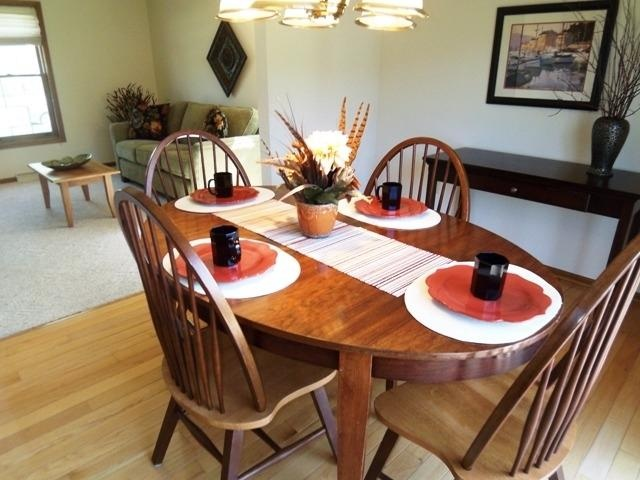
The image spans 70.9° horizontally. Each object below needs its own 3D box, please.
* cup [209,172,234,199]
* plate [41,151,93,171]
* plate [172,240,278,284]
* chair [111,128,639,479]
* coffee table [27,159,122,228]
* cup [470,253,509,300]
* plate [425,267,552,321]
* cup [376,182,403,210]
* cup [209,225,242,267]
[{"bbox_3d":[-0.486,-0.270,2.180,0.133,0.119,0.083,-18,32,-36],"label":"cup"},{"bbox_3d":[-2.400,-0.758,4.507,0.328,0.124,0.379,3,14,0],"label":"plate"},{"bbox_3d":[-0.294,0.071,1.593,0.192,0.021,0.194,12,26,20],"label":"plate"},{"bbox_3d":[0.078,0.368,1.686,1.409,1.201,0.847,7,22,20],"label":"chair"},{"bbox_3d":[-2.394,-0.439,4.468,0.609,0.538,0.859,-22,45,-38],"label":"coffee table"},{"bbox_3d":[0.524,0.118,1.416,0.085,0.139,0.071,-6,22,-14],"label":"cup"},{"bbox_3d":[0.515,0.182,1.425,0.208,0.029,0.218,12,30,19],"label":"plate"},{"bbox_3d":[0.311,-0.209,2.085,0.147,0.136,0.093,-3,25,-2],"label":"cup"},{"bbox_3d":[-0.312,0.013,1.570,0.090,0.126,0.141,-9,27,-22],"label":"cup"}]
